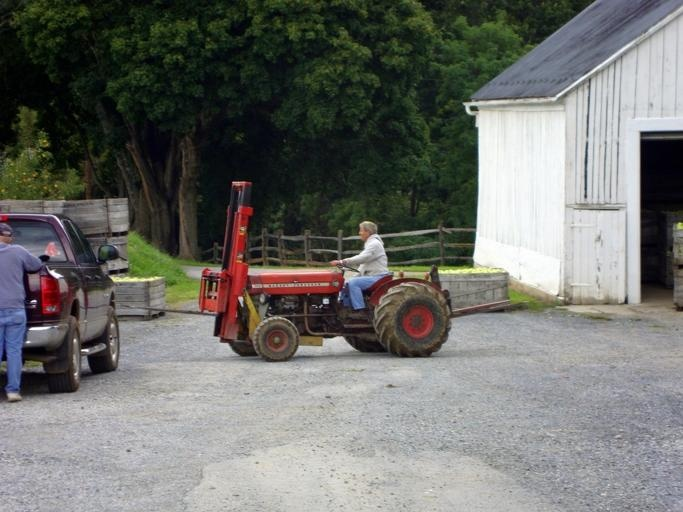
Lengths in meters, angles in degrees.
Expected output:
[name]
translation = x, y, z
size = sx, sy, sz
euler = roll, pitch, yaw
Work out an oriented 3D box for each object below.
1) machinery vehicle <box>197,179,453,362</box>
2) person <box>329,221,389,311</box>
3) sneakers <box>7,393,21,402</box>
[machinery vehicle]
translation = -0.238, 0.310, 16.253
size = 4.528, 2.586, 2.431
euler = 4, 1, -26
[person]
translation = 0.240, 0.190, 16.061
size = 1.098, 1.518, 0.982
euler = -2, 0, 25
[sneakers]
translation = -4.339, 1.858, 12.513
size = 0.086, 0.090, 0.219
euler = -1, 3, 7
